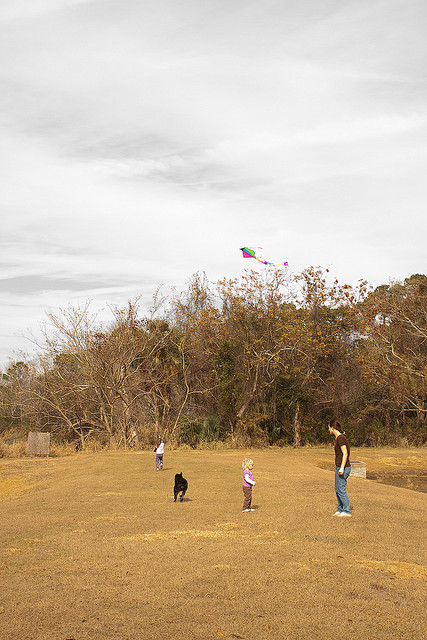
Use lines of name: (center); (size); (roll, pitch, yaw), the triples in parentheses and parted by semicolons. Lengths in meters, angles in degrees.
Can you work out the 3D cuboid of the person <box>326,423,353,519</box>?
person: (2.060, 2.442, 10.801); (0.397, 1.523, 0.860); (1, -4, 12)
